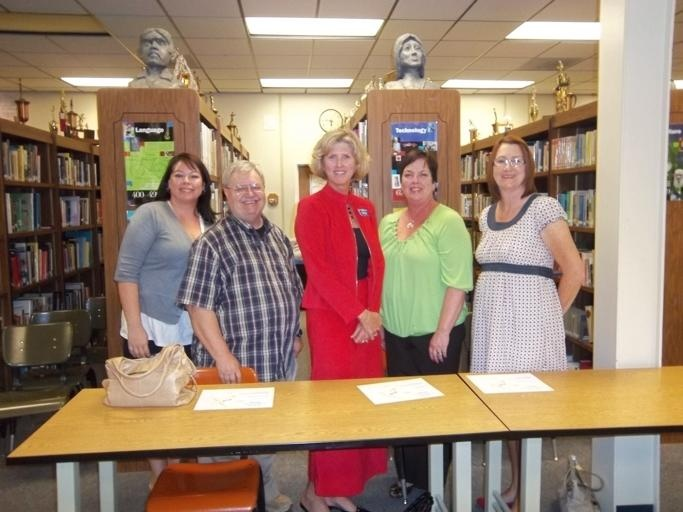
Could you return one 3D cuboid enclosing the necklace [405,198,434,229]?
[{"bbox_3d":[0.463,-0.259,3.628,0.143,0.179,0.188,-2,4,8],"label":"necklace"}]

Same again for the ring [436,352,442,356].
[{"bbox_3d":[0.558,0.586,3.458,0.014,0.022,0.012,-17,16,12],"label":"ring"}]

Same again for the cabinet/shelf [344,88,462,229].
[{"bbox_3d":[0.424,-0.785,5.271,0.892,1.679,0.941,1,-1,-2],"label":"cabinet/shelf"}]

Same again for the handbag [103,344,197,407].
[{"bbox_3d":[-0.933,0.610,2.878,0.547,0.344,0.272,-1,6,-3],"label":"handbag"}]

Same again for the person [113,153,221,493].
[{"bbox_3d":[-1.031,0.386,3.808,0.718,2.036,0.611,-8,20,-30],"label":"person"}]
